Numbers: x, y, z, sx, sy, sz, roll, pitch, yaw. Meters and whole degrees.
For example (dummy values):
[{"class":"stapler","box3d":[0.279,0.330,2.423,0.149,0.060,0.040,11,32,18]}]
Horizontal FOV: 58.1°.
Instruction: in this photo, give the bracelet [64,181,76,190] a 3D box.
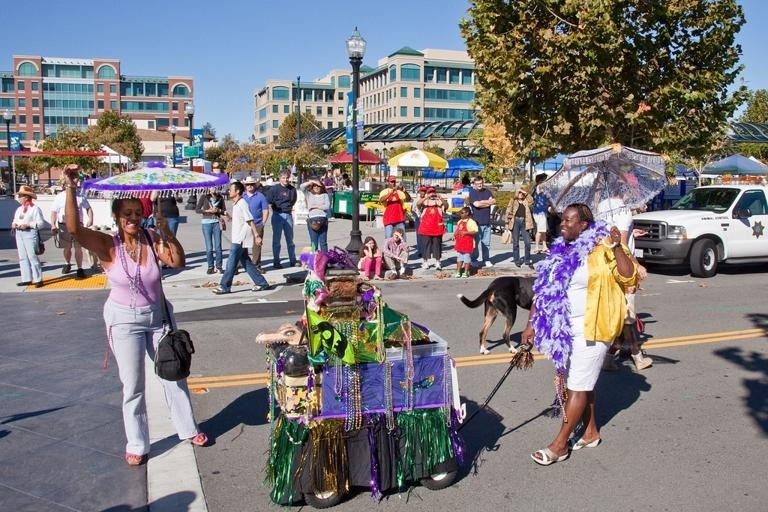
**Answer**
[{"class":"bracelet","box3d":[-3.297,-0.743,7.301,0.105,0.082,0.109,1,2,0]}]

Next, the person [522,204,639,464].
[{"class":"person","box3d":[2.147,0.873,7.637,1.100,2.771,0.791,1,13,3]}]

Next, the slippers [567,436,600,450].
[{"class":"slippers","box3d":[2.284,2.136,7.911,0.332,0.110,0.141,1,-8,-12]}]

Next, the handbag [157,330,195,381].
[{"class":"handbag","box3d":[-2.255,1.027,7.671,0.473,0.711,0.525,0,2,-27]}]

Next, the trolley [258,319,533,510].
[{"class":"trolley","box3d":[-0.062,1.507,7.505,2.178,1.705,1.568,3,1,-12]}]

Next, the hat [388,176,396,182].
[{"class":"hat","box3d":[0.213,-1.935,17.399,0.211,0.112,0.335,-1,8,-6]}]

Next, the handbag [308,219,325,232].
[{"class":"handbag","box3d":[-1.619,-0.714,16.722,0.370,0.273,0.497,7,-6,-32]}]

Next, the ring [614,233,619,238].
[{"class":"ring","box3d":[2.501,-0.216,7.438,0.027,0.012,0.038,-24,-49,25]}]

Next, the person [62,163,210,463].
[{"class":"person","box3d":[-2.732,0.624,7.588,1.160,3.189,0.809,-6,14,-26]}]

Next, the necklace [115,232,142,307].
[{"class":"necklace","box3d":[-2.748,0.214,7.480,0.274,0.644,0.136,6,14,26]}]

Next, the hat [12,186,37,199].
[{"class":"hat","box3d":[-7.884,-1.403,15.280,0.330,0.193,0.344,-5,-13,14]}]

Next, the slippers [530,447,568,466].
[{"class":"slippers","box3d":[1.833,2.199,7.628,0.331,0.104,0.184,3,-4,-17]}]

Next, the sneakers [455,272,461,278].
[{"class":"sneakers","box3d":[1.804,0.462,16.671,0.104,0.118,0.273,-1,-5,10]}]

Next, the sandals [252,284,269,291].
[{"class":"sandals","box3d":[-2.651,0.687,15.027,0.334,0.124,0.134,1,1,-29]}]
